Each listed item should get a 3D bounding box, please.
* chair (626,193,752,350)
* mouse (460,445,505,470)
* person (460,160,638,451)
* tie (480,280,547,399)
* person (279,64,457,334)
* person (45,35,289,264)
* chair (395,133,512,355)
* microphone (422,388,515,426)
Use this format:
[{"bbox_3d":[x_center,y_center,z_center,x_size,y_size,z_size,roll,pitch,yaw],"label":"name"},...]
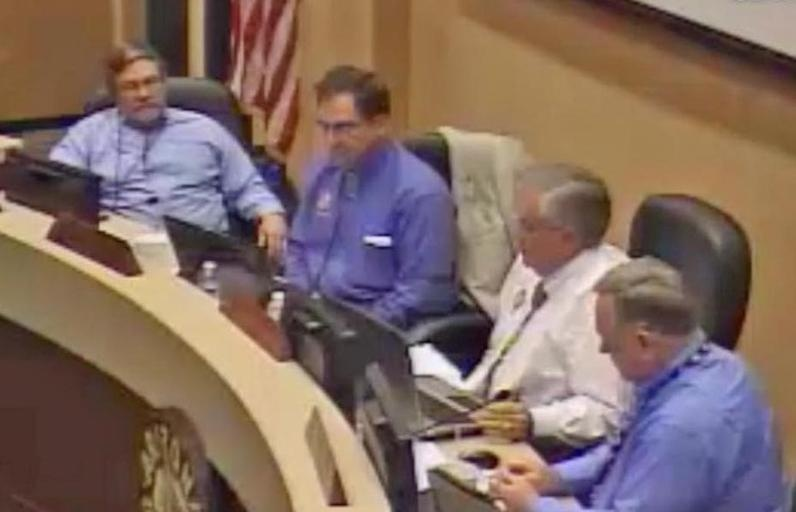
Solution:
[{"bbox_3d":[0.679,0.051,2.353,0.240,0.403,0.208,-14,-4,21],"label":"chair"},{"bbox_3d":[0.188,0.469,2.355,0.061,0.028,0.050,-2,30,4],"label":"mouse"},{"bbox_3d":[0.400,0.130,2.883,0.520,0.949,0.671,4,10,4],"label":"person"},{"bbox_3d":[0.315,0.237,2.738,0.052,0.319,0.045,30,-20,2],"label":"tie"},{"bbox_3d":[-0.149,-0.132,3.179,0.614,0.858,0.497,3,4,33],"label":"person"},{"bbox_3d":[-0.958,-0.379,3.767,0.963,0.844,0.531,-3,7,-16],"label":"person"},{"bbox_3d":[0.247,-0.122,3.095,0.375,0.590,0.503,3,12,35],"label":"chair"},{"bbox_3d":[0.149,0.358,2.430,0.143,0.047,0.109,8,16,-25],"label":"microphone"}]
